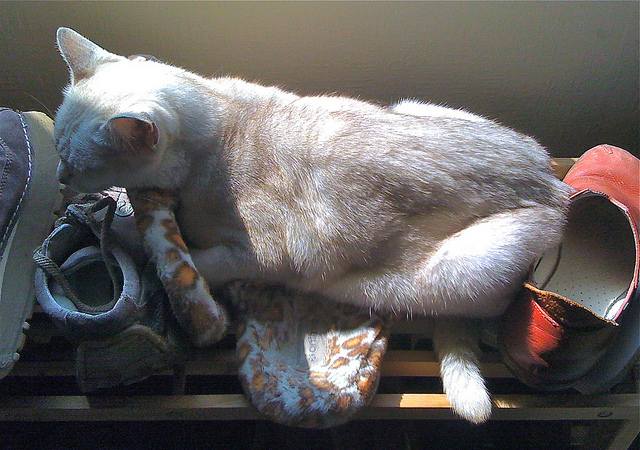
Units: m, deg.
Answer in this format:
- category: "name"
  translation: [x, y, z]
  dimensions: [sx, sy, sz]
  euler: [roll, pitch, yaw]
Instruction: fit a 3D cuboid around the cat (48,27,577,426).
- category: "cat"
  translation: [-0.051, -0.081, 1.307]
  dimensions: [1.057, 0.332, 0.534]
  euler: [12, 58, -4]
